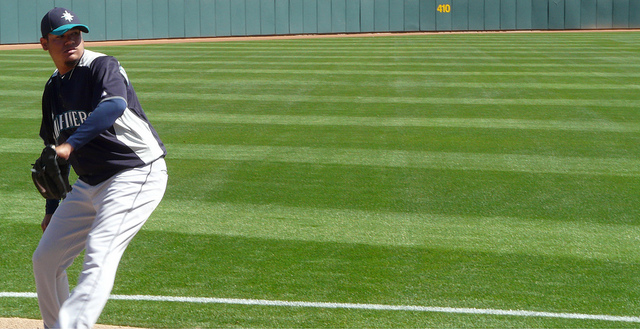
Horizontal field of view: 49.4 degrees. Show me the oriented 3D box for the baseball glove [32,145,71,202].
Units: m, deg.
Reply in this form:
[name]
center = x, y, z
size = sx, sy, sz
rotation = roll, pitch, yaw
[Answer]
[baseball glove]
center = -3.389, 0.084, 8.869
size = 0.321, 0.700, 0.563
rotation = -31, -4, -39
